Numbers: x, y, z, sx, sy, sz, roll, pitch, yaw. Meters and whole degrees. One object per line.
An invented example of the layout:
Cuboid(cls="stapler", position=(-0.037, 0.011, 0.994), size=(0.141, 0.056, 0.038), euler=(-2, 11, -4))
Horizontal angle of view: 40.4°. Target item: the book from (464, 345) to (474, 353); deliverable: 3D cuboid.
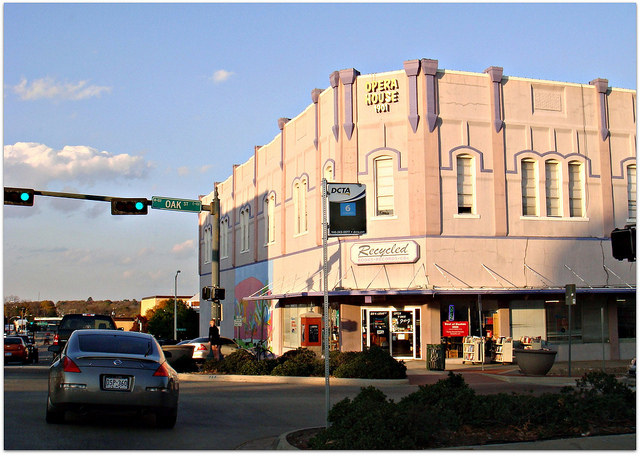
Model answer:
Cuboid(cls="book", position=(6.875, 5.579, 40.255), size=(0.259, 0.498, 0.489), euler=(1, -3, -38))

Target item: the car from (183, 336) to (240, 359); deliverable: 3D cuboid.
Cuboid(cls="car", position=(-5.050, 5.442, 39.407), size=(2.488, 1.008, 4.942), euler=(0, -9, 1))

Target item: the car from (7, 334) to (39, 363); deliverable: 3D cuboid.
Cuboid(cls="car", position=(-16.697, 6.867, 49.180), size=(1.543, 1.355, 3.498), euler=(2, -10, -11))

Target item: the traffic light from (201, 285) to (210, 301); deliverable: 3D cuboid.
Cuboid(cls="traffic light", position=(-4.830, 2.753, 36.641), size=(0.272, 0.534, 1.437), euler=(2, -9, -11))

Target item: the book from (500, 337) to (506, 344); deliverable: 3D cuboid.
Cuboid(cls="book", position=(8.500, 5.275, 40.716), size=(0.241, 0.295, 0.244), euler=(1, 2, -28))

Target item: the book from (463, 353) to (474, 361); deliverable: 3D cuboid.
Cuboid(cls="book", position=(6.867, 5.881, 40.211), size=(0.267, 0.356, 0.499), euler=(4, -9, -16))

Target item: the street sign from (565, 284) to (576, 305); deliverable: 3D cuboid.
Cuboid(cls="street sign", position=(9.920, 2.626, 34.517), size=(0.350, 0.734, 0.219), euler=(-4, -9, 31))

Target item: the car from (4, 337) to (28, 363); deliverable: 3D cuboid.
Cuboid(cls="car", position=(-16.169, 6.456, 45.962), size=(0.829, 1.314, 1.697), euler=(-2, -9, 15))

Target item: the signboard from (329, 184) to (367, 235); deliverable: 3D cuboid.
Cuboid(cls="signboard", position=(0.686, -0.511, 23.373), size=(1.242, 1.753, 0.194), euler=(0, 6, 1))

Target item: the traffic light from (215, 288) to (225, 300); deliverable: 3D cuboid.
Cuboid(cls="traffic light", position=(-4.170, 2.761, 36.277), size=(0.421, 0.491, 0.471), euler=(-2, -9, 2))

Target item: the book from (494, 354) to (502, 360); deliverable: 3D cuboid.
Cuboid(cls="book", position=(8.301, 6.016, 40.491), size=(0.221, 0.319, 0.316), euler=(4, -7, -1))
